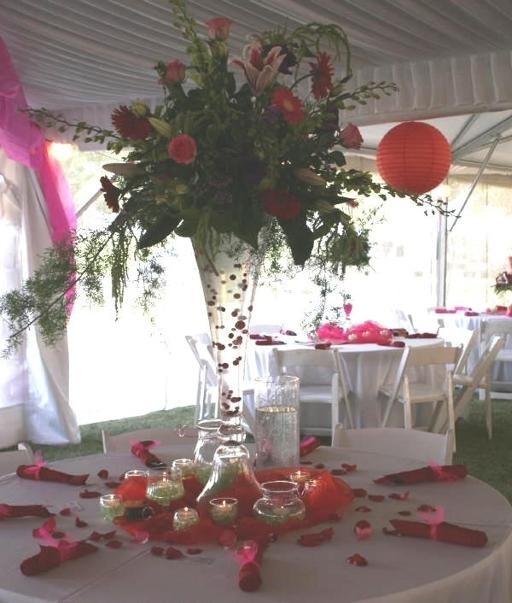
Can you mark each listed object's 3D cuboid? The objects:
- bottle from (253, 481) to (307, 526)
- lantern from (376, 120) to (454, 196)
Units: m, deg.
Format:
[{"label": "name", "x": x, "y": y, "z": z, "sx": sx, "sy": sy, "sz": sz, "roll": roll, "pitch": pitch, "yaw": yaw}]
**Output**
[{"label": "bottle", "x": 0.051, "y": 0.388, "z": 1.038, "sx": 0.085, "sy": 0.070, "sz": 0.082, "roll": 0, "pitch": -10, "yaw": -4}, {"label": "lantern", "x": 0.989, "y": -0.908, "z": 3.325, "sx": 0.449, "sy": 0.419, "sz": 0.261, "roll": 1, "pitch": -1, "yaw": -25}]
